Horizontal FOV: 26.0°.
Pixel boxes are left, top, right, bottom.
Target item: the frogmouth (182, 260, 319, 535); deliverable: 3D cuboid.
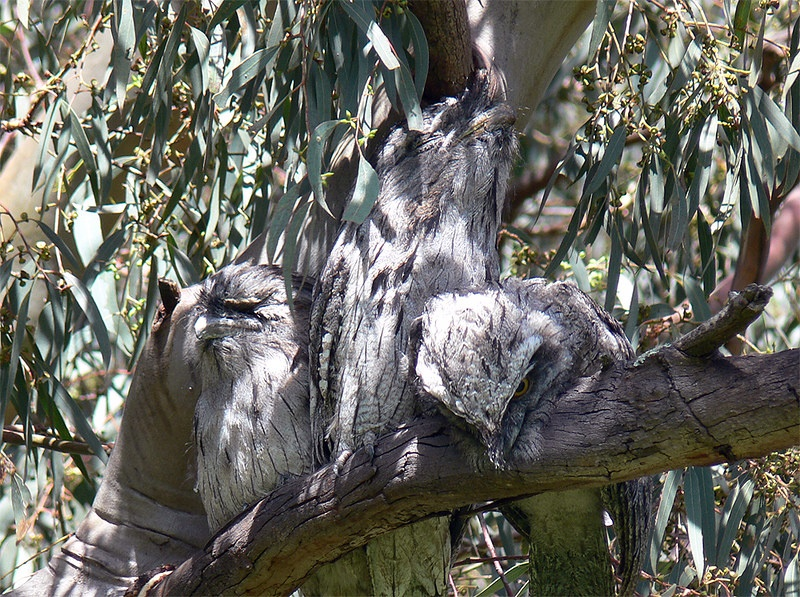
[{"bbox_3d":[-0.464,0.310,5.519,0.383,0.835,0.224,-1,-9,-5],"label":"frogmouth"}]
